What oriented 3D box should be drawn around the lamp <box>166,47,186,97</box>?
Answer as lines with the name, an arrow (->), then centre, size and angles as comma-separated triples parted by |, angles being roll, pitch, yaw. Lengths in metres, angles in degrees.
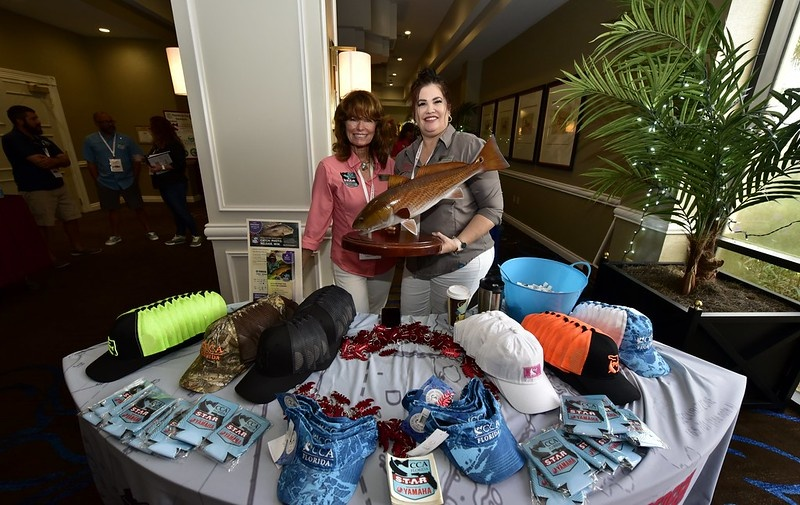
lamp -> -2.533, -2.080, 4.579 | 0.118, 0.524, 2.044 | -9, 23, -27

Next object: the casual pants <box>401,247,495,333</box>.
casual pants -> 0.376, 0.223, 3.184 | 0.596, 0.479, 0.540 | 10, 23, 23

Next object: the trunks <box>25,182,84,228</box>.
trunks -> -4.433, -0.688, 5.116 | 0.322, 0.602, 0.607 | 10, 20, -2

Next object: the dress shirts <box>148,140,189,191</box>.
dress shirts -> -3.109, -1.168, 5.425 | 0.455, 0.679, 0.344 | -11, 23, -31

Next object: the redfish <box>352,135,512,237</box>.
redfish -> 0.181, -0.471, 2.882 | 0.925, 0.407, 0.218 | -29, 33, 7

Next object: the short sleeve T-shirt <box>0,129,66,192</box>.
short sleeve T-shirt -> -4.370, -1.113, 4.875 | 0.510, 0.709, 0.262 | -15, 25, -38

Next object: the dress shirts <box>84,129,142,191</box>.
dress shirts -> -4.091, -1.336, 5.794 | 0.713, 0.783, 0.403 | -9, 33, -32
